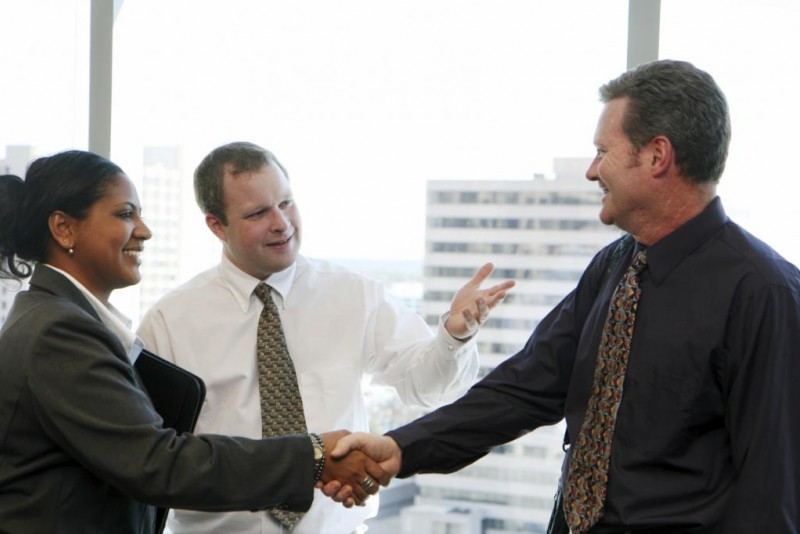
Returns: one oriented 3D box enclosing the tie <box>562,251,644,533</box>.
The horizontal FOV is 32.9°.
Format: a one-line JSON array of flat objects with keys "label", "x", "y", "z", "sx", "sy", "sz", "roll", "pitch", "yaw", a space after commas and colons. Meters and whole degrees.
[{"label": "tie", "x": 0.709, "y": 0.463, "z": 4.759, "sx": 0.216, "sy": 1.124, "sz": 0.057, "roll": 11, "pitch": -7, "yaw": 11}]
